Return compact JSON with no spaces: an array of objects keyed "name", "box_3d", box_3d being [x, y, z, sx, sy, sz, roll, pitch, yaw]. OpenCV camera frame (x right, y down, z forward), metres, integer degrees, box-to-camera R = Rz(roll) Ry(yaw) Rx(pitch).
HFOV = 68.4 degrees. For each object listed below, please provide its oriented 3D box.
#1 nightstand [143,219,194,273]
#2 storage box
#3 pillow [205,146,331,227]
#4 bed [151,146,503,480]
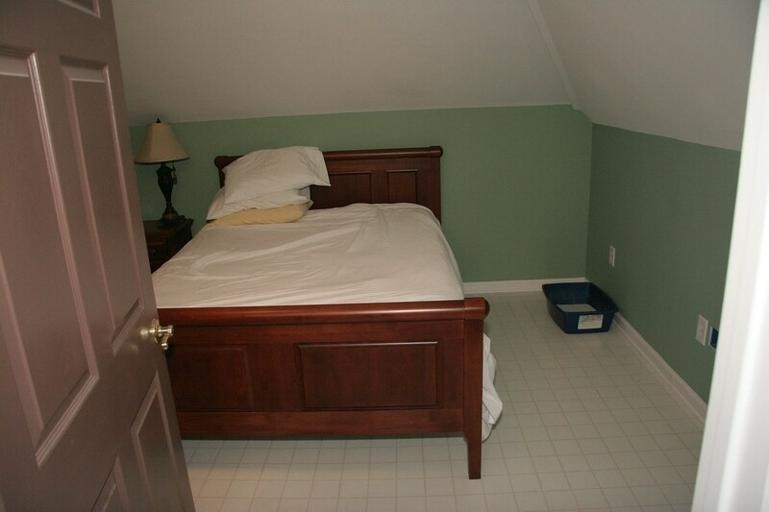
[{"name":"nightstand","box_3d":[-1.378,-0.060,3.587,0.229,0.294,0.298,4,22,10]},{"name":"storage box","box_3d":[1.317,0.343,3.828,0.446,0.237,0.450,-2,15,4]},{"name":"pillow","box_3d":[-0.780,-0.455,3.846,0.653,0.577,0.190,-7,-26,0]},{"name":"bed","box_3d":[-0.420,0.085,3.542,1.765,1.348,2.327,0,19,2]}]
